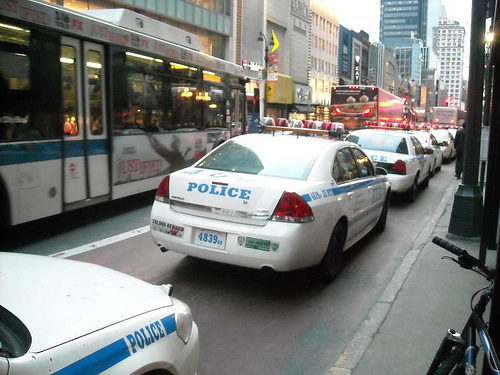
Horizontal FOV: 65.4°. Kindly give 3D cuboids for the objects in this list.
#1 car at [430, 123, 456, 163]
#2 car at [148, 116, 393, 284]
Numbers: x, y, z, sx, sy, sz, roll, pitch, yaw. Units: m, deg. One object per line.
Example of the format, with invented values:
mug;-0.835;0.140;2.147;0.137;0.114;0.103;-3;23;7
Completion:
car;11.690;-2.589;23.280;1.549;1.500;3.709;0;3;24
car;0.469;0.261;5.623;3.487;1.961;1.810;-6;11;-38
